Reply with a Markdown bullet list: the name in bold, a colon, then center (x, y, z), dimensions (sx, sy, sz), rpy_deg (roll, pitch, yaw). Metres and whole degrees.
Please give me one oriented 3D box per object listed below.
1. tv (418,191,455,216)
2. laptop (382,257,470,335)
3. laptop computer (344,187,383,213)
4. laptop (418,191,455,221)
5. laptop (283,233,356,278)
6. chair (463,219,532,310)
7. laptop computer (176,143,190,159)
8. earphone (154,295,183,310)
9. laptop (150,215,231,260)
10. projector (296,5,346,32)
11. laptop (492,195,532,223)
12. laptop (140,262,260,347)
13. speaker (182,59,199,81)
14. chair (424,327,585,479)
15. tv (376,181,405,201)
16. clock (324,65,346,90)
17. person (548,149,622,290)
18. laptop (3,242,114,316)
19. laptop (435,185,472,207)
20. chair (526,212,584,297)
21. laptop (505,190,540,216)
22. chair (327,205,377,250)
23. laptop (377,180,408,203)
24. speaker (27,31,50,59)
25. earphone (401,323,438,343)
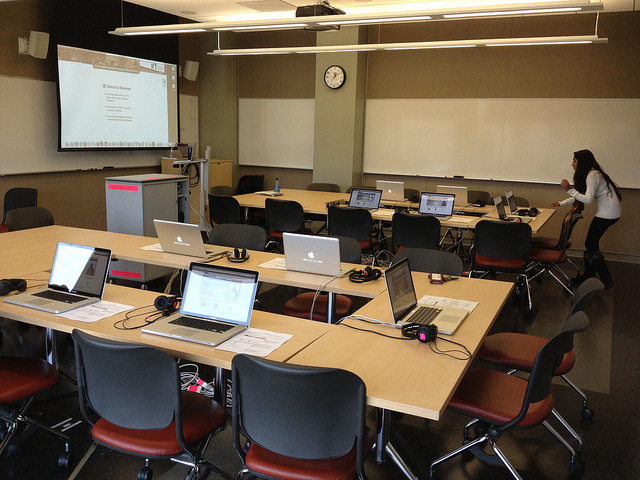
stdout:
- **tv**: center (1.634, -0.523, 6.569), dimensions (0.418, 0.300, 0.332), rpy_deg (6, 10, 28)
- **laptop**: center (0.690, 0.329, 2.996), dimensions (0.422, 0.358, 0.505), rpy_deg (8, 15, 31)
- **laptop computer**: center (0.659, -0.604, 6.773), dimensions (0.402, 0.274, 0.369), rpy_deg (6, 12, 17)
- **laptop**: center (1.550, -0.505, 6.410), dimensions (0.483, 0.341, 0.397), rpy_deg (7, 1, 28)
- **laptop**: center (0.007, 0.056, 3.829), dimensions (0.480, 0.366, 0.360), rpy_deg (7, 24, 26)
- **chair**: center (2.169, 0.119, 5.712), dimensions (0.792, 1.152, 0.854), rpy_deg (10, 30, 28)
- **laptop computer**: center (-2.342, -1.549, 8.151), dimensions (0.197, 0.243, 0.212), rpy_deg (-1, 12, -6)
- **earphone**: center (-0.966, 0.387, 3.029), dimensions (0.093, 0.041, 0.124), rpy_deg (2, 6, 28)
- **laptop**: center (-1.170, -0.027, 4.135), dimensions (0.624, 0.317, 0.325), rpy_deg (4, 13, 16)
- **projector**: center (-0.030, -2.509, 5.191), dimensions (0.380, 0.192, 0.418), rpy_deg (7, 18, 27)
- **laptop**: center (2.543, -0.404, 6.291), dimensions (0.378, 0.319, 0.484), rpy_deg (1, 9, 26)
- **laptop**: center (-0.685, 0.344, 2.756), dimensions (0.514, 0.342, 0.487), rpy_deg (6, 8, 22)
- **speaker**: center (-2.585, -3.498, 9.617), dimensions (0.222, 0.391, 0.448), rpy_deg (4, 13, 18)
- **chair**: center (1.136, 1.062, 2.960), dimensions (0.732, 1.023, 0.686), rpy_deg (10, 19, 34)
- **tv**: center (1.211, -0.848, 7.749), dimensions (0.411, 0.306, 0.311), rpy_deg (7, 14, 31)
- **clock**: center (0.297, -3.126, 8.933), dimensions (0.391, 0.430, 0.071), rpy_deg (7, 12, 30)
- **person**: center (3.703, -0.301, 6.451), dimensions (0.713, 1.834, 0.596), rpy_deg (7, 14, 31)
- **laptop**: center (-1.729, 0.251, 3.120), dimensions (0.513, 0.351, 0.480), rpy_deg (10, 14, 26)
- **laptop**: center (2.119, -0.720, 7.330), dimensions (0.414, 0.308, 0.329), rpy_deg (5, 14, 31)
- **chair**: center (2.916, 0.135, 6.006), dimensions (0.777, 0.992, 0.725), rpy_deg (7, 17, 39)
- **laptop**: center (2.849, -0.504, 6.692), dimensions (0.341, 0.307, 0.455), rpy_deg (4, 9, 26)
- **chair**: center (0.453, -0.242, 6.228), dimensions (0.466, 0.818, 0.594), rpy_deg (5, 16, 22)
- **laptop**: center (1.201, -0.908, 7.711), dimensions (0.437, 0.341, 0.318), rpy_deg (9, 17, 34)
- **speaker**: center (-4.102, -2.878, 6.890), dimensions (0.299, 0.370, 0.191), rpy_deg (-9, 15, -35)
- **earphone**: center (0.581, 0.522, 2.739), dimensions (0.126, 0.065, 0.119), rpy_deg (2, 11, 26)
